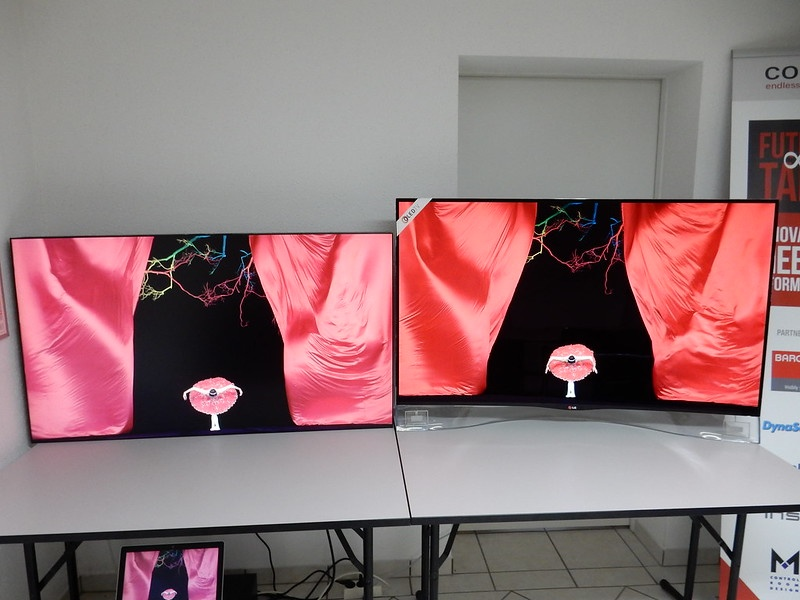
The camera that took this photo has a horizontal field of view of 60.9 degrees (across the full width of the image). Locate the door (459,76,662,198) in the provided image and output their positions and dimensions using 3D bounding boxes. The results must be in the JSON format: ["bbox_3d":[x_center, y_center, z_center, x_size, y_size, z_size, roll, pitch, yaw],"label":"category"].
[{"bbox_3d":[0.908,-0.845,3.534,0.992,0.634,0.029,-3,4,-12],"label":"door"}]
